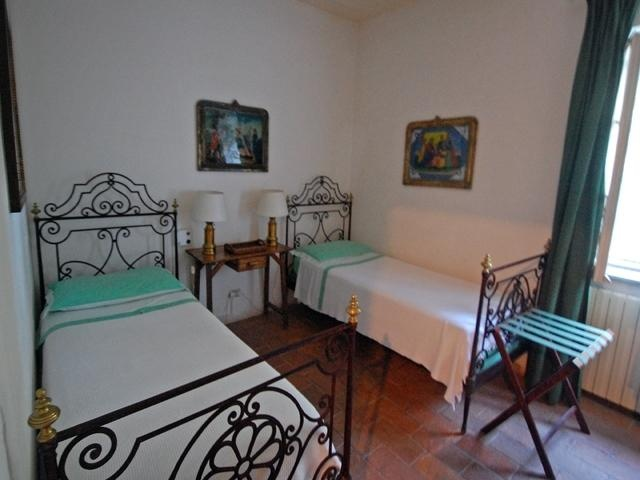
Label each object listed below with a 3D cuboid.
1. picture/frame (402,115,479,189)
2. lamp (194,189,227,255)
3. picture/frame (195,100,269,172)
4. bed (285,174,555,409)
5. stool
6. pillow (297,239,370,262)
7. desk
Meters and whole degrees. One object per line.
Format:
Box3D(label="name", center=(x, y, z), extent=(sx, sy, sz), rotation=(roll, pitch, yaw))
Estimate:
Box3D(label="picture/frame", center=(1.188, -0.846, 4.312), extent=(0.045, 0.689, 0.611), rotation=(-7, 15, -40))
Box3D(label="lamp", center=(-0.997, -0.167, 4.016), extent=(0.303, 0.641, 0.294), rotation=(-13, 31, -35))
Box3D(label="picture/frame", center=(-0.859, -0.986, 4.221), extent=(0.625, 0.599, 0.050), rotation=(-8, 15, -38))
Box3D(label="bed", center=(0.836, 0.202, 4.344), extent=(1.290, 1.786, 2.233), rotation=(-12, 22, -33))
Box3D(label="stool", center=(1.635, 1.033, 3.235), extent=(0.642, 0.855, 0.835), rotation=(13, 18, 43))
Box3D(label="pillow", center=(0.171, 0.106, 4.662), extent=(0.511, 0.096, 0.312), rotation=(-8, 23, -39))
Box3D(label="desk", center=(-0.802, 0.420, 4.237), extent=(0.667, 0.666, 0.322), rotation=(-10, 20, -33))
